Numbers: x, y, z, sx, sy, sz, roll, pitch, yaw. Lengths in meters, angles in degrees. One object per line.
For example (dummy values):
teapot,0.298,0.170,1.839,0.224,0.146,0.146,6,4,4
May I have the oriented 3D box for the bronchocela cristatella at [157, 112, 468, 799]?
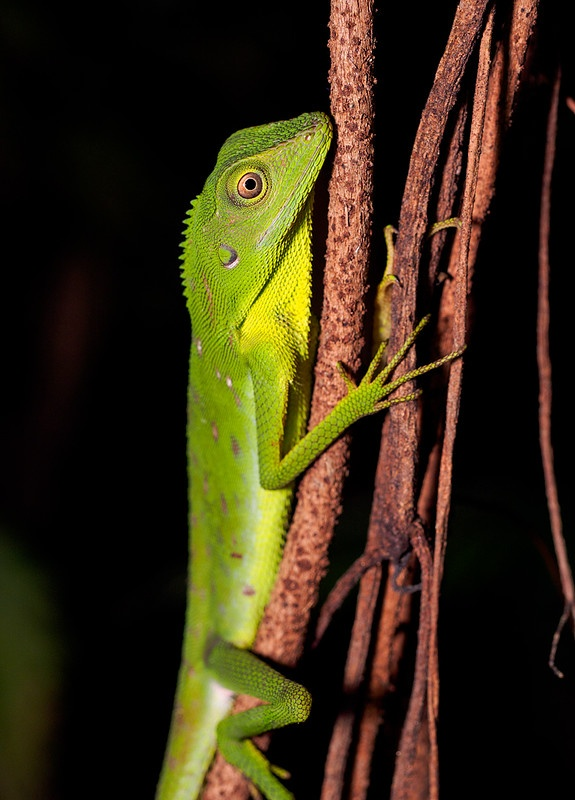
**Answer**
bronchocela cristatella,0.041,0.207,1.795,0.293,1.401,0.524,2,15,-31
